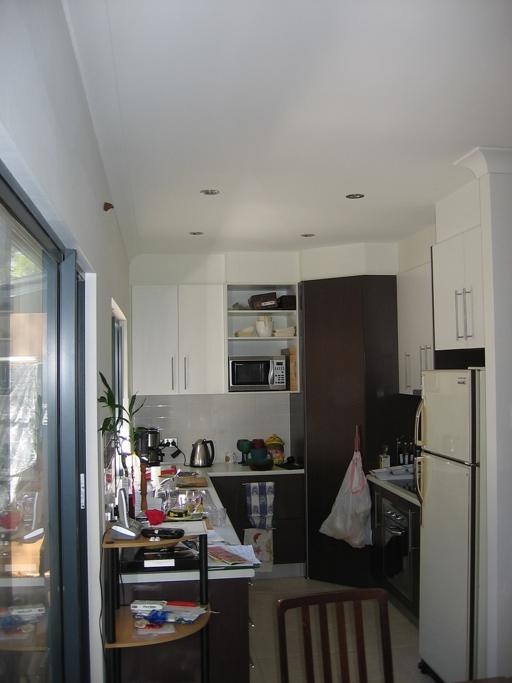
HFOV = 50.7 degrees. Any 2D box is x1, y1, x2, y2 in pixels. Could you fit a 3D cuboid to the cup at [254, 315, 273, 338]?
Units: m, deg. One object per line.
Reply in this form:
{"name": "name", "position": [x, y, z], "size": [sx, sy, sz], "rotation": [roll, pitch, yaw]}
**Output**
{"name": "cup", "position": [0.080, -0.134, 4.707], "size": [0.151, 0.243, 0.158], "rotation": [-1, -4, 0]}

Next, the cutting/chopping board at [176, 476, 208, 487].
{"name": "cutting/chopping board", "position": [-0.470, 1.037, 3.990], "size": [0.225, 0.048, 0.261], "rotation": [-3, -4, -11]}

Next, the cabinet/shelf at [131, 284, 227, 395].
{"name": "cabinet/shelf", "position": [-0.681, -0.027, 4.591], "size": [0.732, 1.055, 0.359], "rotation": [1, -2, -9]}

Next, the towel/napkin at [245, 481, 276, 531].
{"name": "towel/napkin", "position": [0.037, 1.337, 4.381], "size": [0.300, 0.464, 0.057], "rotation": [1, -15, -6]}

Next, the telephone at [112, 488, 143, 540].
{"name": "telephone", "position": [-0.512, 0.695, 2.209], "size": [0.090, 0.194, 0.190], "rotation": [0, -10, -1]}

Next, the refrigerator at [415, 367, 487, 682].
{"name": "refrigerator", "position": [1.006, 0.964, 2.792], "size": [0.172, 1.638, 0.593], "rotation": [-2, -4, -7]}

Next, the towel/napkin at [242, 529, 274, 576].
{"name": "towel/napkin", "position": [0.027, 1.676, 4.340], "size": [0.262, 0.049, 0.400], "rotation": [-2, 33, 3]}

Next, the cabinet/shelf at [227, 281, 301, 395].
{"name": "cabinet/shelf", "position": [0.071, -0.031, 4.701], "size": [0.770, 1.434, 0.464], "rotation": [0, -4, -5]}

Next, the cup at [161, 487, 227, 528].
{"name": "cup", "position": [-0.331, 0.835, 2.644], "size": [0.343, 0.176, 0.259], "rotation": [-1, -3, 28]}

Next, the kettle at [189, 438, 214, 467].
{"name": "kettle", "position": [-0.461, 0.949, 4.699], "size": [0.195, 0.262, 0.201], "rotation": [2, -3, -15]}

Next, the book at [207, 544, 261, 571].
{"name": "book", "position": [-0.107, 0.978, 2.467], "size": [0.216, 0.059, 0.295], "rotation": [-3, -4, -7]}
